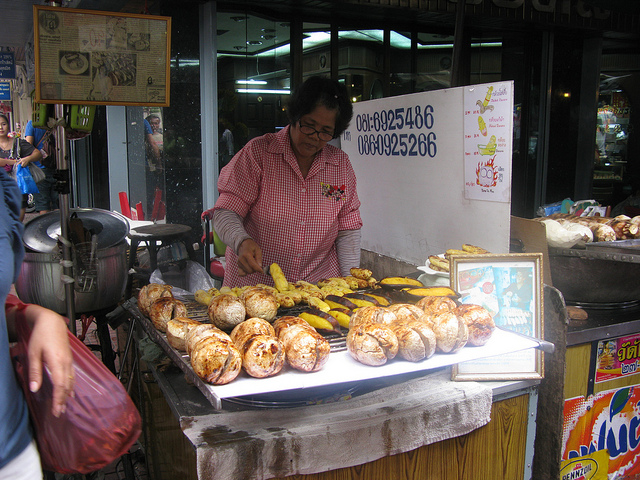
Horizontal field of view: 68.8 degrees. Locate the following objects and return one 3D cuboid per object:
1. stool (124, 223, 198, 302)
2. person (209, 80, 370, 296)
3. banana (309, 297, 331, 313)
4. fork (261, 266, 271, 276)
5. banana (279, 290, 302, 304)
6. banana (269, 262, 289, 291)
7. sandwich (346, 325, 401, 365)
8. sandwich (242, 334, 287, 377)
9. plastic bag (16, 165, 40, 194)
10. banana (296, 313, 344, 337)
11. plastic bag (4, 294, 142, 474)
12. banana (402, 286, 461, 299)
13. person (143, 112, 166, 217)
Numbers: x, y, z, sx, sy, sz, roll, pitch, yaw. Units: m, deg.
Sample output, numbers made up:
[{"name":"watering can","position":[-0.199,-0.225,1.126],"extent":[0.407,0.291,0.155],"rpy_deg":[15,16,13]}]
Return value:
[{"name":"stool","position":[-1.760,0.329,5.270],"extent":[0.690,0.944,0.713],"rpy_deg":[13,5,-26]},{"name":"person","position":[-0.180,-0.257,2.484],"extent":[0.818,1.102,0.753],"rpy_deg":[-2,8,0]},{"name":"banana","position":[-0.003,0.268,1.936],"extent":[0.041,0.021,0.082],"rpy_deg":[5,10,-34]},{"name":"fork","position":[-0.264,0.147,2.221],"extent":[0.034,0.044,0.047],"rpy_deg":[21,-1,8]},{"name":"banana","position":[-0.120,0.251,2.091],"extent":[0.042,0.028,0.089],"rpy_deg":[0,7,-20]},{"name":"banana","position":[-0.196,0.180,2.206],"extent":[0.051,0.052,0.173],"rpy_deg":[-10,43,-11]},{"name":"sandwich","position":[0.170,0.345,1.537],"extent":[0.155,0.098,0.086],"rpy_deg":[-1,8,8]},{"name":"sandwich","position":[-0.167,0.346,1.433],"extent":[0.094,0.078,0.129],"rpy_deg":[7,3,-25]},{"name":"plastic bag","position":[-4.656,-0.935,7.437],"extent":[0.272,0.430,0.917],"rpy_deg":[-7,10,-30]},{"name":"banana","position":[-0.004,0.311,1.835],"extent":[0.173,0.061,0.066],"rpy_deg":[22,23,19]},{"name":"plastic bag","position":[-0.795,0.485,1.514],"extent":[0.381,0.567,0.208],"rpy_deg":[-5,8,-19]},{"name":"banana","position":[0.468,0.217,1.939],"extent":[0.132,0.035,0.085],"rpy_deg":[-6,-5,-7]},{"name":"person","position":[-2.451,-1.208,6.907],"extent":[0.363,1.422,0.378],"rpy_deg":[-5,-8,-9]}]
